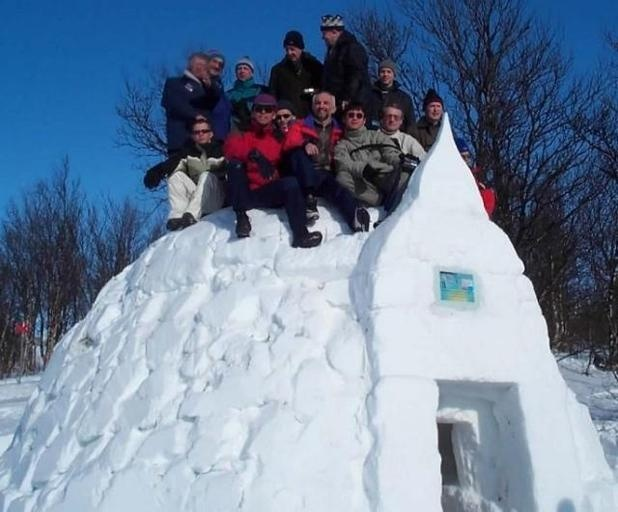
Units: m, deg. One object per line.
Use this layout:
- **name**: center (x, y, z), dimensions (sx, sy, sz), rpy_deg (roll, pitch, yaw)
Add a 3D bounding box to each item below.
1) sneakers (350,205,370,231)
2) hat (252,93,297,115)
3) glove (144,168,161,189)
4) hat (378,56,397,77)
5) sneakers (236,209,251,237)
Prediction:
- **sneakers**: center (0.499, -0.359, 7.227), dimensions (0.079, 0.272, 0.138), rpy_deg (5, -6, -40)
- **hat**: center (-0.390, -1.707, 8.210), dimensions (0.382, 0.143, 0.239), rpy_deg (0, 10, -43)
- **glove**: center (-1.757, -0.867, 8.220), dimensions (0.172, 0.290, 0.211), rpy_deg (5, -14, -13)
- **hat**: center (1.054, -2.584, 9.918), dimensions (0.175, 0.270, 0.277), rpy_deg (5, -15, 9)
- **sneakers**: center (-0.657, -0.322, 7.382), dimensions (0.159, 0.304, 0.149), rpy_deg (3, -13, -7)
